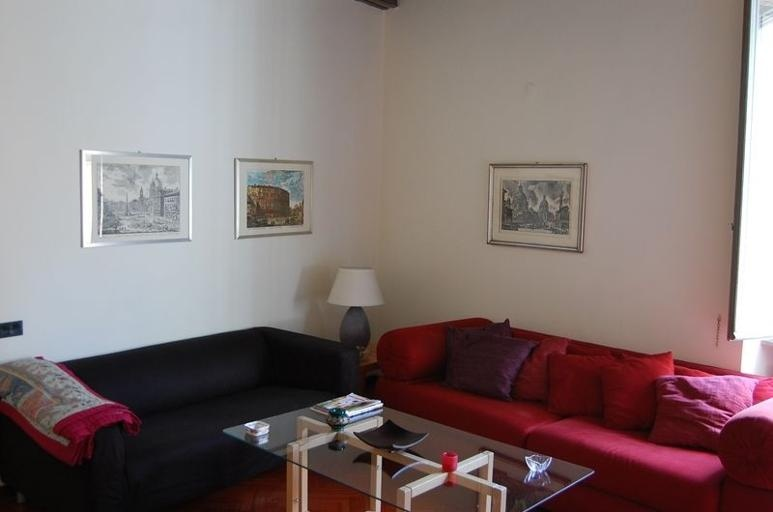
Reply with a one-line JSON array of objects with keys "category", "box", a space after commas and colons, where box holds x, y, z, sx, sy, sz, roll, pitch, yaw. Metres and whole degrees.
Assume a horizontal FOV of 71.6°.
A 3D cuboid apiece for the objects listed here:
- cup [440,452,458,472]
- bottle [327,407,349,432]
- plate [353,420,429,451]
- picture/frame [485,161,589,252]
[{"category": "cup", "box": [0.387, 1.262, 3.288, 0.089, 0.087, 0.090, 4, -3, 0]}, {"category": "bottle", "box": [-0.335, 1.115, 3.700, 0.138, 0.130, 0.118, -4, 8, -35]}, {"category": "plate", "box": [0.031, 1.211, 3.595, 0.355, 0.066, 0.367, 4, 10, 43]}, {"category": "picture/frame", "box": [1.444, -0.462, 4.988, 0.835, 0.719, 0.085, 4, 4, 35]}]
